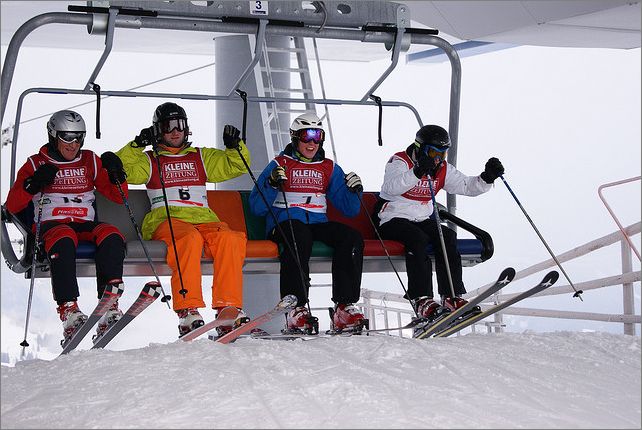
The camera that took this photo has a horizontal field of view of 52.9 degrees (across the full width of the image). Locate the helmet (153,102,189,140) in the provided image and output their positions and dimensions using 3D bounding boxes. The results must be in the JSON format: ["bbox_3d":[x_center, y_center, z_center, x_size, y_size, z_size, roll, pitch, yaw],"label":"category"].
[{"bbox_3d":[-1.090,-0.676,4.739,0.216,0.263,0.263,0,-3,-22],"label":"helmet"}]

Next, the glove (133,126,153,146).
[{"bbox_3d":[-1.252,-0.544,4.588,0.104,0.145,0.146,4,-15,-35],"label":"glove"}]

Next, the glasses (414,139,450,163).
[{"bbox_3d":[0.842,-0.488,4.918,0.167,0.092,0.195,-1,18,-43],"label":"glasses"}]

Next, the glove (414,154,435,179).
[{"bbox_3d":[0.761,-0.349,4.747,0.139,0.093,0.194,16,-33,0],"label":"glove"}]

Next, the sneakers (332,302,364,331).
[{"bbox_3d":[0.190,0.726,4.550,0.107,0.134,0.291,2,-9,-28],"label":"sneakers"}]

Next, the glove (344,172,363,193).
[{"bbox_3d":[0.243,-0.231,4.753,0.096,0.163,0.057,-30,-7,9],"label":"glove"}]

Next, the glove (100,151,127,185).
[{"bbox_3d":[-1.438,-0.330,4.468,0.146,0.242,0.093,-29,5,-19],"label":"glove"}]

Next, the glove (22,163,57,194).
[{"bbox_3d":[-1.929,-0.249,4.422,0.175,0.221,0.222,1,-2,-41],"label":"glove"}]

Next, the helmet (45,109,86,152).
[{"bbox_3d":[-1.775,-0.607,4.500,0.260,0.258,0.216,5,5,44],"label":"helmet"}]

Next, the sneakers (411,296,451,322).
[{"bbox_3d":[0.770,0.671,4.616,0.117,0.148,0.325,-28,11,-39],"label":"sneakers"}]

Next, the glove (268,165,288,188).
[{"bbox_3d":[-0.303,-0.273,4.731,0.084,0.107,0.164,-10,-16,-33],"label":"glove"}]

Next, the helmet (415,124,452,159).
[{"bbox_3d":[0.840,-0.581,4.928,0.259,0.250,0.218,29,30,33],"label":"helmet"}]

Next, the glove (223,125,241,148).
[{"bbox_3d":[-0.654,-0.568,4.756,0.149,0.155,0.060,15,19,4],"label":"glove"}]
